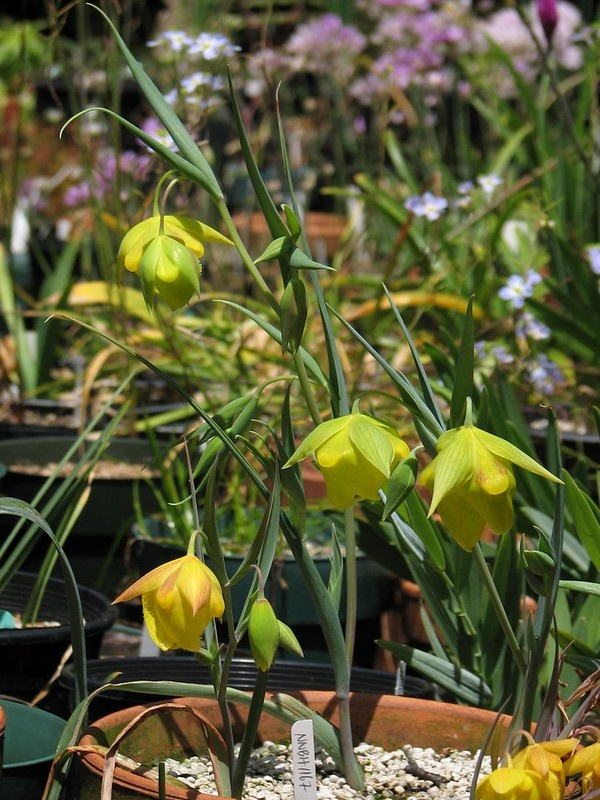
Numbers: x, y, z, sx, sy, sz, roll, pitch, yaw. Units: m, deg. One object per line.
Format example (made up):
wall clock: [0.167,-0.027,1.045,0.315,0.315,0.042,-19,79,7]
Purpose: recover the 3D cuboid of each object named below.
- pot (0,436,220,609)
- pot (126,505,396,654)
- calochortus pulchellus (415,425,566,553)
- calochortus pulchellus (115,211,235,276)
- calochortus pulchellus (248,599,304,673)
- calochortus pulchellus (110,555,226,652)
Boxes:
pot: [-0.289,0.136,1.384,0.225,0.189,0.242,1,0,0]
pot: [-0.025,0.164,1.149,0.187,0.151,0.204,1,1,0]
calochortus pulchellus: [0.107,0.056,0.607,0.075,0.077,0.068,-1,-15,2]
calochortus pulchellus: [-0.080,-0.098,0.626,0.046,0.028,0.045,-8,-3,40]
calochortus pulchellus: [-0.010,0.128,0.586,0.014,0.028,0.047,21,-16,13]
calochortus pulchellus: [-0.070,0.125,0.608,0.058,0.058,0.054,13,-23,-23]
